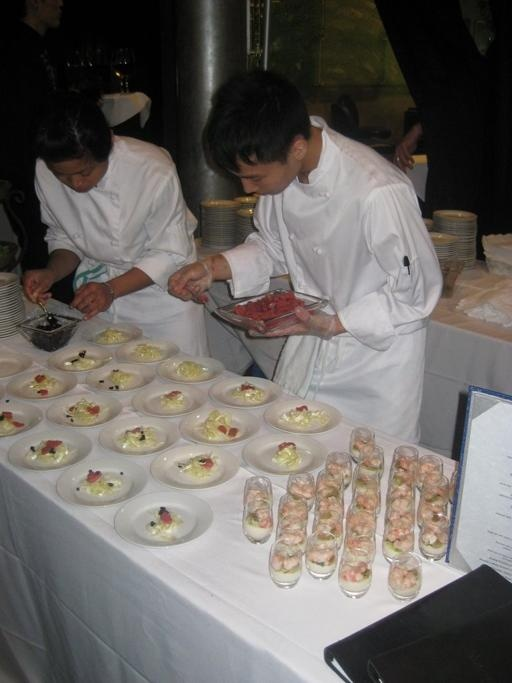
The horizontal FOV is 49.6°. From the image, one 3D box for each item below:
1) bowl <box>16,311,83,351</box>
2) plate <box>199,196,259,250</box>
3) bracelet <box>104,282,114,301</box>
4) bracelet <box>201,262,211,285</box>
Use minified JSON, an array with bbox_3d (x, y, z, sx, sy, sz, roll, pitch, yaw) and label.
[{"bbox_3d":[-0.771,-0.045,2.080,0.201,0.087,0.159,11,24,28],"label":"bowl"},{"bbox_3d":[-0.176,-0.741,3.429,0.350,0.273,0.399,-1,16,-2],"label":"plate"},{"bbox_3d":[-0.565,-0.193,2.149,0.025,0.060,0.054,-30,23,-19],"label":"bracelet"},{"bbox_3d":[-0.171,-0.244,1.998,0.020,0.054,0.072,-10,65,-6],"label":"bracelet"}]
